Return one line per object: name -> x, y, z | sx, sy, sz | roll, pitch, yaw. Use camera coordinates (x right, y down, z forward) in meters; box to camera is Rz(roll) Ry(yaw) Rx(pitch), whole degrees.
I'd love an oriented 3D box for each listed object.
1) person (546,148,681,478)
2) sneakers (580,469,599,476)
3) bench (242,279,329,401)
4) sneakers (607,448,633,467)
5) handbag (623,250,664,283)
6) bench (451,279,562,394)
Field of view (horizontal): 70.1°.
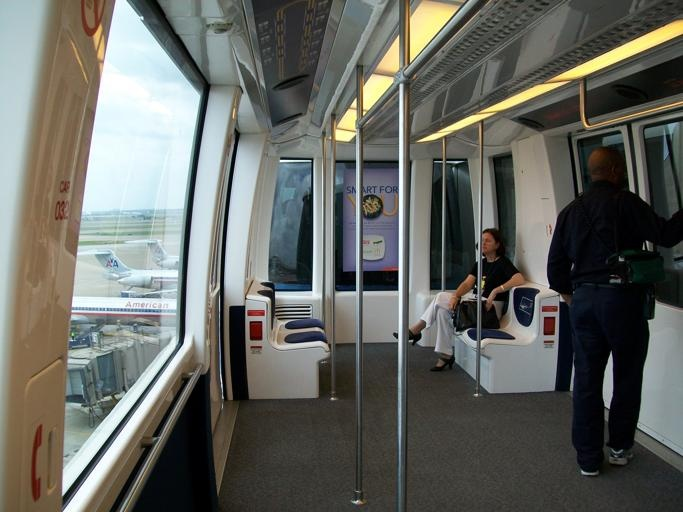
person -> 2.134, 0.426, 3.901 | 0.948, 2.603, 0.500 | 3, 5, 39
sneakers -> 1.979, 1.711, 3.904 | 0.143, 0.073, 0.055 | 3, 0, -10
bench -> -0.686, 1.003, 6.404 | 0.961, 1.244, 1.771 | 0, 2, -8
sneakers -> 2.303, 1.658, 4.020 | 0.095, 0.127, 0.258 | -2, 2, 22
handbag -> 2.224, 0.072, 3.577 | 0.245, 0.235, 0.126 | 0, 4, 6
bench -> 2.183, 0.877, 6.271 | 0.905, 1.253, 1.276 | 1, 12, 11
